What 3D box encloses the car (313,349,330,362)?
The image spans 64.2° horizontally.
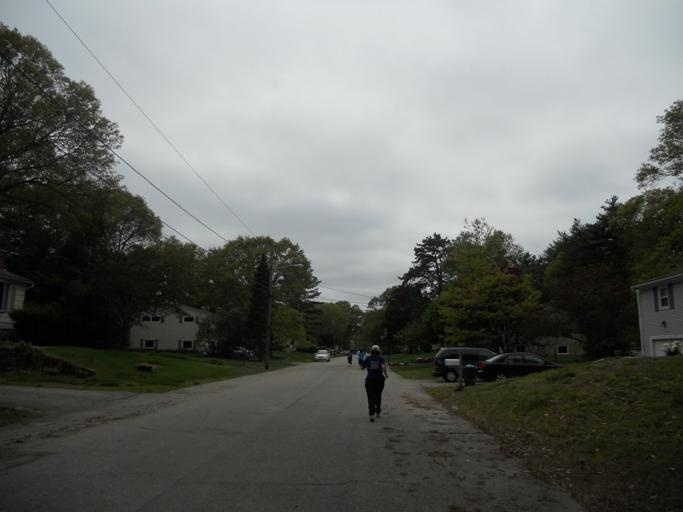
[{"bbox_3d":[-2.288,11.985,65.647,1.251,0.922,2.196,-1,-19,4],"label":"car"}]

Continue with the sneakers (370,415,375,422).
[{"bbox_3d":[0.892,4.646,15.588,0.114,0.135,0.135,7,-19,-26],"label":"sneakers"}]

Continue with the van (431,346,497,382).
[{"bbox_3d":[6.835,5.900,29.363,3.631,1.497,1.805,-3,-7,-7],"label":"van"}]

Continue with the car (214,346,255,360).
[{"bbox_3d":[-10.500,9.345,53.126,3.324,1.325,5.290,0,-4,-5],"label":"car"}]
